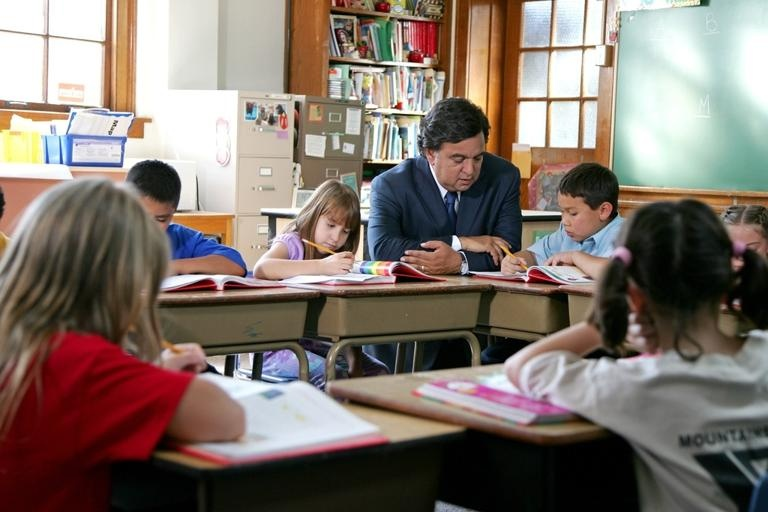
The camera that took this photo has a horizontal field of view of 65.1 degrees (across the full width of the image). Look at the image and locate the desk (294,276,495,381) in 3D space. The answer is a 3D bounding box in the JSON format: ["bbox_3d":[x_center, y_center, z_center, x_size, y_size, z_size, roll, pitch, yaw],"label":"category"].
[{"bbox_3d":[0.020,0.194,2.192,0.537,0.405,0.388,-1,1,-33],"label":"desk"}]

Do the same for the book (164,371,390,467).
[{"bbox_3d":[-0.174,0.306,1.090,0.182,0.047,0.193,-8,23,-37],"label":"book"}]

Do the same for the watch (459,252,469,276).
[{"bbox_3d":[0.341,0.033,2.571,0.048,0.088,0.043,5,11,8],"label":"watch"}]

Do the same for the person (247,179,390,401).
[{"bbox_3d":[-0.282,0.113,2.553,0.543,0.855,0.490,9,-6,27],"label":"person"}]

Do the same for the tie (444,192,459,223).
[{"bbox_3d":[0.307,-0.230,2.737,0.050,0.173,0.041,0,11,-6],"label":"tie"}]

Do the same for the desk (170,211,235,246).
[{"bbox_3d":[-1.347,-0.184,4.559,0.294,0.279,0.291,-2,3,-42],"label":"desk"}]
